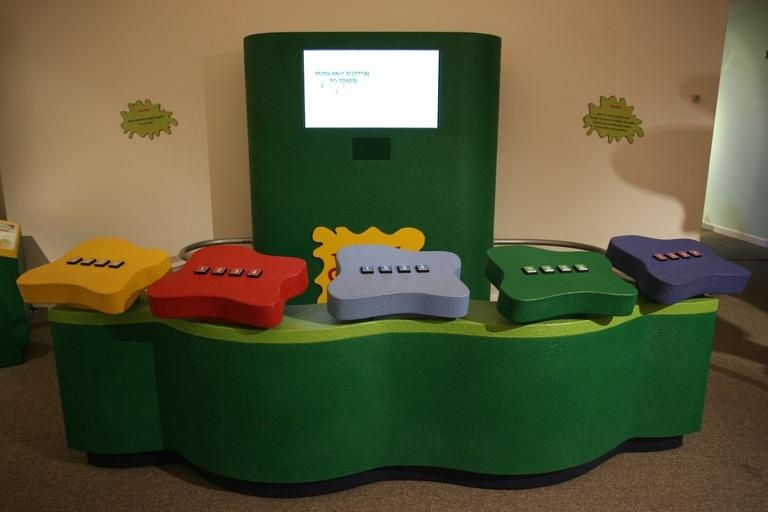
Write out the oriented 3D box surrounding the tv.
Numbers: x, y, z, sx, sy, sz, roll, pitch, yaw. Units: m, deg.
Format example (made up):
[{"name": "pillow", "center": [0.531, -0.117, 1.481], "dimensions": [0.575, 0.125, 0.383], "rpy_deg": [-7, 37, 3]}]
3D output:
[{"name": "tv", "center": [-0.100, -1.192, 4.374], "dimensions": [0.971, 0.525, 0.064], "rpy_deg": [0, 14, -1]}]
